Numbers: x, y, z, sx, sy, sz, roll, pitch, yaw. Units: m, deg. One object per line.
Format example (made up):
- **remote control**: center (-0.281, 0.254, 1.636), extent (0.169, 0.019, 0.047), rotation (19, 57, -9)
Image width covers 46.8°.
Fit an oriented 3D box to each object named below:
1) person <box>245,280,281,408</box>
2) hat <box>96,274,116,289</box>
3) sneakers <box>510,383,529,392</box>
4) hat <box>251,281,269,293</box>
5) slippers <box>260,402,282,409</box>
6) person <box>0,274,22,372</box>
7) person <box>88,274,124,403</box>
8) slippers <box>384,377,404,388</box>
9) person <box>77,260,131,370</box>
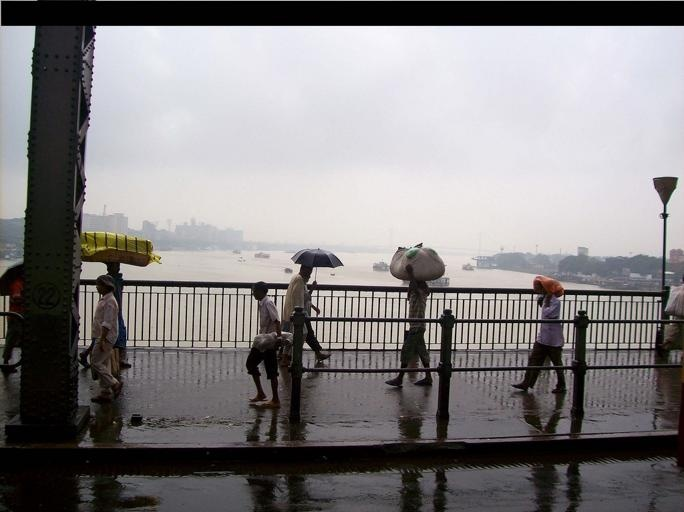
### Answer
- **person**: center (-1.194, 1.365, 12.040), extent (0.616, 2.051, 0.753), rotation (10, -33, -19)
- **hat**: center (-3.298, 0.339, 11.099), extent (0.224, 0.196, 0.173), rotation (28, -18, -11)
- **sneakers**: center (2.800, 2.054, 12.488), extent (0.265, 0.179, 0.096), rotation (12, 0, 35)
- **hat**: center (-1.181, 0.432, 11.429), extent (0.189, 0.167, 0.146), rotation (-5, 7, -22)
- **slippers**: center (-0.998, 2.079, 11.137), extent (0.293, 0.117, 0.104), rotation (3, -9, 8)
- **person**: center (-5.234, 1.065, 12.547), extent (0.351, 1.562, 1.486), rotation (-3, 12, -22)
- **person**: center (-3.331, 1.149, 11.130), extent (0.392, 1.764, 0.450), rotation (-2, 12, -17)
- **slippers**: center (0.815, 1.967, 12.377), extent (0.276, 0.198, 0.113), rotation (9, -13, 6)
- **person**: center (-3.829, 1.128, 12.707), extent (0.805, 1.574, 0.436), rotation (-5, 18, -26)
